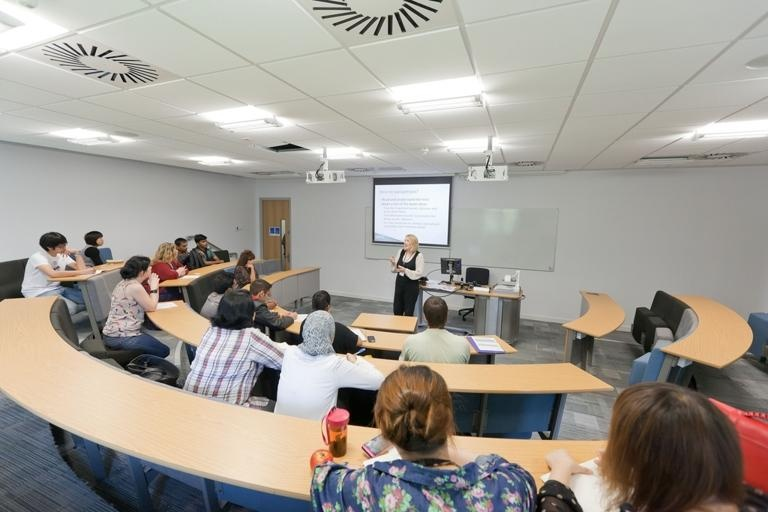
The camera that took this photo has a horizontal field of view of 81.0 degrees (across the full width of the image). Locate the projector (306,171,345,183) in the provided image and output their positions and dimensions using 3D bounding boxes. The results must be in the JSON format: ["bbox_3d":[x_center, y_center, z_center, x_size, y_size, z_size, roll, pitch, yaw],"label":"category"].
[{"bbox_3d":[-0.873,-1.161,6.620,0.419,0.128,0.296,1,9,7],"label":"projector"}]

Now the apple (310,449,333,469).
[{"bbox_3d":[-0.418,1.321,2.969,0.145,0.132,0.140,-2,11,-10],"label":"apple"}]

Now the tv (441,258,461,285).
[{"bbox_3d":[1.077,0.244,7.263,0.459,0.538,0.195,0,0,7],"label":"tv"}]
